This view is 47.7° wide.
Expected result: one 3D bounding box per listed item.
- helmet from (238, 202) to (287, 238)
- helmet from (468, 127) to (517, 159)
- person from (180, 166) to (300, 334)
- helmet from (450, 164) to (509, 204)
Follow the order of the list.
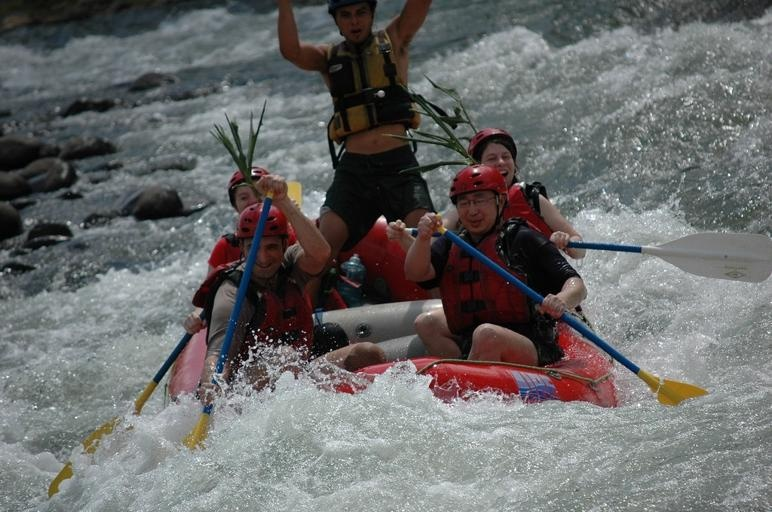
[{"bbox_3d":[-1.152,-0.320,8.141,0.307,0.394,0.303,1,2,12],"label":"helmet"},{"bbox_3d":[1.081,-1.240,9.452,0.357,0.351,0.436,-1,15,40],"label":"helmet"},{"bbox_3d":[-1.640,-0.168,9.370,1.135,1.919,0.526,13,-5,45],"label":"person"},{"bbox_3d":[0.802,-0.648,8.361,0.423,0.280,0.534,-7,-6,7],"label":"helmet"}]
